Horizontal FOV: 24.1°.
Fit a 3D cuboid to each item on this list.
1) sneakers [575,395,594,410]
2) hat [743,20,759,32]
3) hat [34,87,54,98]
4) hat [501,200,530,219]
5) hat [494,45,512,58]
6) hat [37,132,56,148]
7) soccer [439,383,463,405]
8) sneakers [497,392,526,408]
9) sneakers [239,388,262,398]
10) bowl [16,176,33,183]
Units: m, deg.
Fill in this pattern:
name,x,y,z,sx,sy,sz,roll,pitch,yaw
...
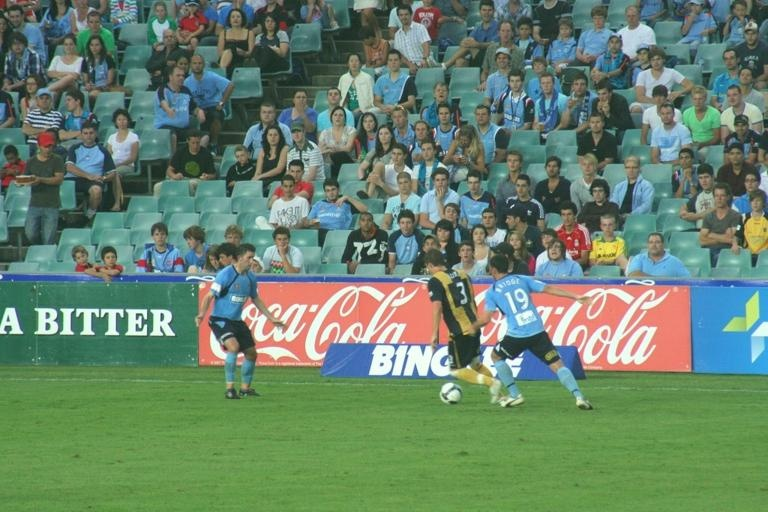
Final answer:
name,x,y,z,sx,sy,sz,roll,pitch,yaw
sneakers,3.848,2.855,34.348,0.150,0.186,0.417,-27,-57,32
hat,8.555,-5.324,41.801,0.311,0.286,0.602,-2,1,11
hat,-8.324,-3.984,44.121,0.339,0.187,0.556,-3,-3,-11
hat,2.896,-1.026,39.336,0.523,0.283,0.332,1,2,28
hat,2.860,-4.802,42.427,0.351,0.260,0.705,-2,1,5
hat,-7.879,-2.694,42.006,0.298,0.251,0.421,-5,6,-29
soccer,1.334,2.728,35.338,0.401,0.408,0.494,-2,1,0
sneakers,2.514,2.828,34.932,0.542,0.270,0.198,-5,9,7
sneakers,-2.628,2.747,35.781,0.444,0.180,0.152,2,26,-16
bowl,-8.238,-1.728,41.273,0.360,0.140,0.245,-2,1,23
